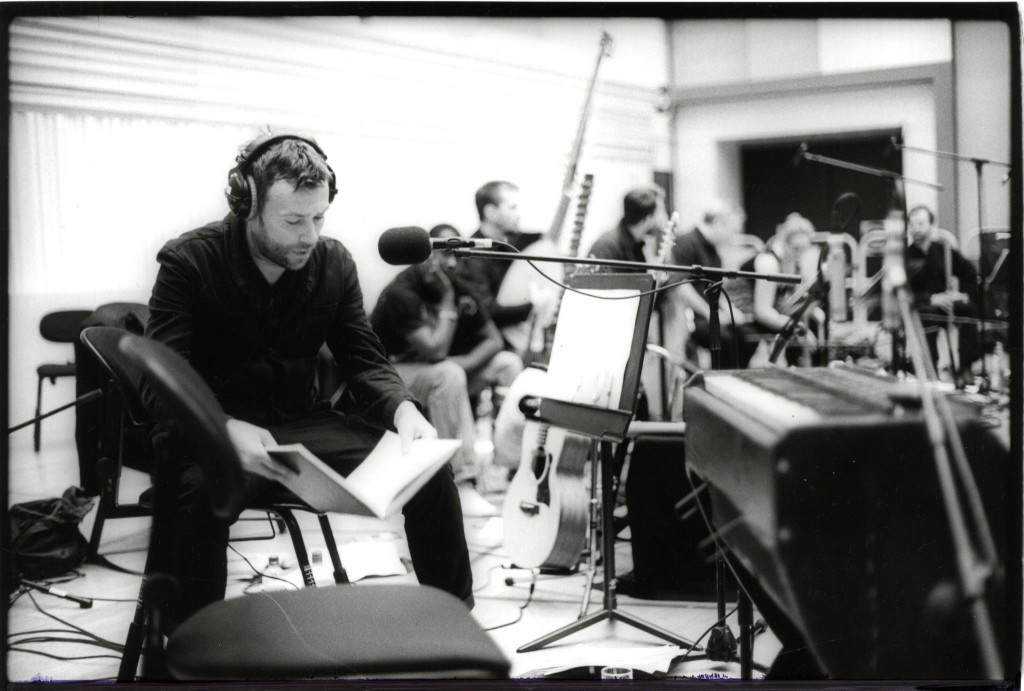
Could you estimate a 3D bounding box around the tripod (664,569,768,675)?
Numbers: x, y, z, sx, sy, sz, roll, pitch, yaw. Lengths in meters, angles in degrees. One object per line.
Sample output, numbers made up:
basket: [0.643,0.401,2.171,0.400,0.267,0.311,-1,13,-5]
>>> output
tripod: [0.822,1.180,4.384,0.393,0.462,0.342,3,-8,2]

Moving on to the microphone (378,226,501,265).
microphone: [-0.289,-0.344,3.689,0.581,0.154,0.159,0,-1,2]

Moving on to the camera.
camera: [-0.991,-0.682,4.284,0.319,0.388,0.195,-1,41,-25]

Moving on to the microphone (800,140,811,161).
microphone: [1.196,-0.798,4.270,0.040,0.070,0.018,-26,-5,18]

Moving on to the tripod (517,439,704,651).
tripod: [0.385,0.779,4.612,0.767,1.040,0.843,-1,2,26]

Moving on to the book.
book: [-0.577,0.495,4.197,0.506,0.224,0.377,2,-7,-36]

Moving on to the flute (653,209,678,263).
flute: [0.626,-0.428,4.250,0.054,0.287,0.073,18,-4,-4]
